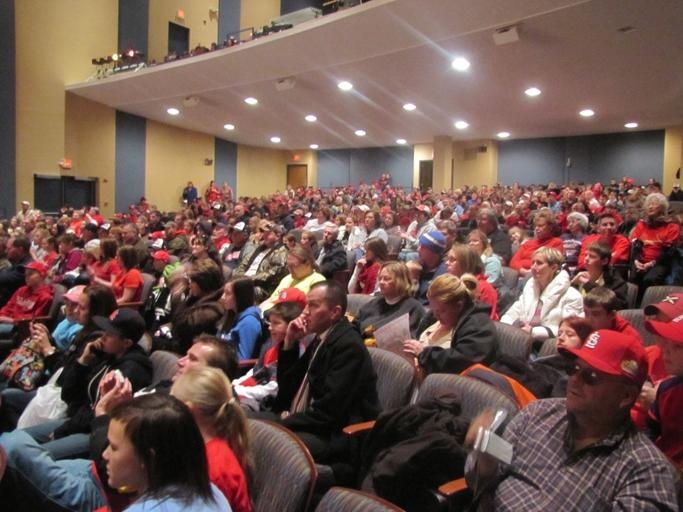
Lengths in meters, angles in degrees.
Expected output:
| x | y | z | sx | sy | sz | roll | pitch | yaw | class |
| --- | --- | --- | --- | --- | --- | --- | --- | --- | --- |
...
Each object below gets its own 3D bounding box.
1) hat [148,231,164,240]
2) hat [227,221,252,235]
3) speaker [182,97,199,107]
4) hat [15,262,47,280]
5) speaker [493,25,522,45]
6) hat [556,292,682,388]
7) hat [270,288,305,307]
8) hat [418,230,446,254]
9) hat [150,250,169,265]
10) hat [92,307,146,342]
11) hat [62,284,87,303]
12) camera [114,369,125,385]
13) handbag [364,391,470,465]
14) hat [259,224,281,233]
| x | y | z | sx | sy | sz | roll | pitch | yaw | class |
| --- | --- | --- | --- | --- | --- | --- | --- | --- | --- |
| -3.482 | -0.396 | 9.194 | 0.287 | 0.154 | 0.370 | 7 | 5 | 29 | hat |
| -1.565 | -0.466 | 7.611 | 0.179 | 0.156 | 0.274 | -2 | -17 | 21 | hat |
| -4.078 | -4.202 | 13.251 | 0.530 | 0.226 | 0.268 | 7 | 5 | 29 | speaker |
| -3.469 | 0.126 | 5.570 | 0.201 | 0.164 | 0.278 | -3 | 7 | -33 | hat |
| 2.526 | -3.409 | 7.560 | 0.363 | 0.202 | 0.309 | 6 | 5 | 25 | speaker |
| 1.568 | 0.474 | 2.789 | 0.455 | 0.564 | 0.406 | 12 | -14 | -38 | hat |
| -0.490 | 0.372 | 4.566 | 0.255 | 0.144 | 0.159 | 0 | -7 | -34 | hat |
| 0.975 | -0.125 | 5.208 | 0.261 | 0.219 | 0.210 | 8 | 23 | -20 | hat |
| -2.406 | -0.006 | 6.469 | 0.193 | 0.119 | 0.148 | 23 | 11 | 7 | hat |
| -1.563 | 0.461 | 3.520 | 0.319 | 0.194 | 0.216 | 27 | 0 | -17 | hat |
| -2.498 | 0.344 | 4.570 | 0.170 | 0.146 | 0.257 | -9 | -13 | 10 | hat |
| -1.498 | 0.801 | 3.310 | 0.081 | 0.024 | 0.087 | 34 | 18 | -39 | camera |
| 0.395 | 0.888 | 2.640 | 0.426 | 0.169 | 0.343 | -16 | 17 | -4 | handbag |
| -0.908 | -0.391 | 6.556 | 0.156 | 0.088 | 0.251 | -4 | -9 | 37 | hat |
